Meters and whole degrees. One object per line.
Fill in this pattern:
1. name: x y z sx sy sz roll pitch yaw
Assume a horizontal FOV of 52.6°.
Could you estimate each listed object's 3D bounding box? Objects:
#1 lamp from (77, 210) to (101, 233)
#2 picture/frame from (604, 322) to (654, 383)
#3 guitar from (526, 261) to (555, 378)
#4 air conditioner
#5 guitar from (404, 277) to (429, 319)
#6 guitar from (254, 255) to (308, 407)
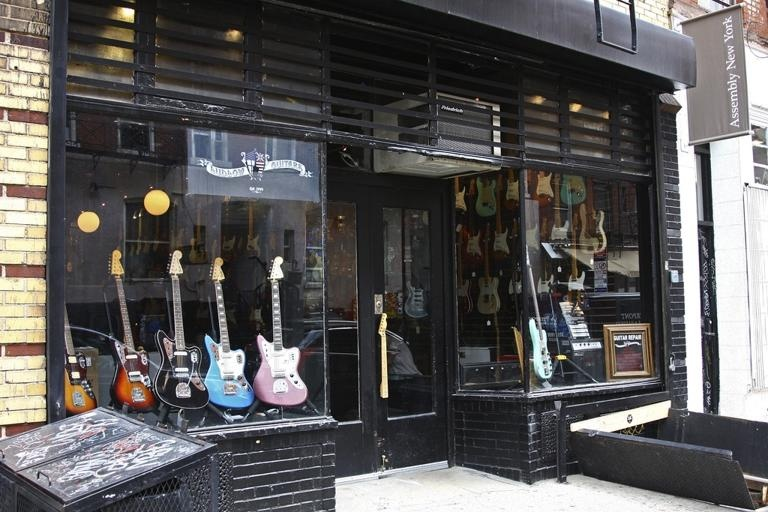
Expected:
1. lamp: -2.671 -0.316 7.037 0.173 0.182 0.040 -8 5 -33
2. picture/frame: 3.055 1.244 9.832 0.701 0.743 0.060 3 -13 -24
3. guitar: 1.842 0.794 9.252 0.353 1.423 0.099 1 -5 -43
4. air conditioner: 0.761 -1.411 8.931 1.121 0.713 0.654 3 -6 -39
5. guitar: 0.374 0.513 9.378 0.327 0.458 0.057 0 -5 -39
6. guitar: -1.045 0.746 7.680 0.512 1.471 0.125 -2 -4 -7
